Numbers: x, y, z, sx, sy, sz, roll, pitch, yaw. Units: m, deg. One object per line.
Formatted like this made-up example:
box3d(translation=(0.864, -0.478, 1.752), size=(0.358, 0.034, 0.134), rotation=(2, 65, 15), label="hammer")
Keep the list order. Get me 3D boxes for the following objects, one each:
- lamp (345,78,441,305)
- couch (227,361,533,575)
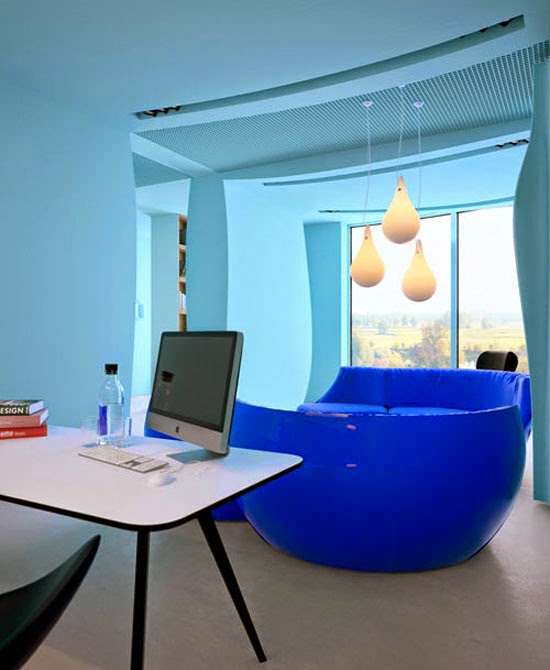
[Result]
box3d(translation=(1.230, -1.230, 5.184), size=(0.808, 1.643, 1.725), rotation=(0, -1, 18), label="lamp")
box3d(translation=(0.364, 0.665, 2.409), size=(1.097, 0.711, 1.229), rotation=(5, -9, -44), label="couch")
